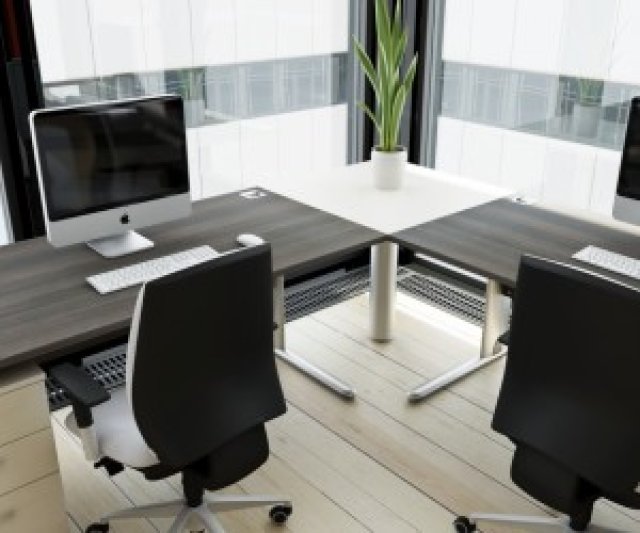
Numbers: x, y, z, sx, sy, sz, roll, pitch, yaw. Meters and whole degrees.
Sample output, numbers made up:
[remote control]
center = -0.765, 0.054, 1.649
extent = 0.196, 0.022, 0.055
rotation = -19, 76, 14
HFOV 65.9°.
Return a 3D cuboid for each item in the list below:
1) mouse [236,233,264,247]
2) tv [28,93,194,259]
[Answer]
[mouse]
center = -0.299, -0.112, 2.115
extent = 0.117, 0.037, 0.122
rotation = 15, 21, 39
[tv]
center = -0.854, -0.357, 2.042
extent = 0.680, 0.660, 0.237
rotation = -20, 32, -40
